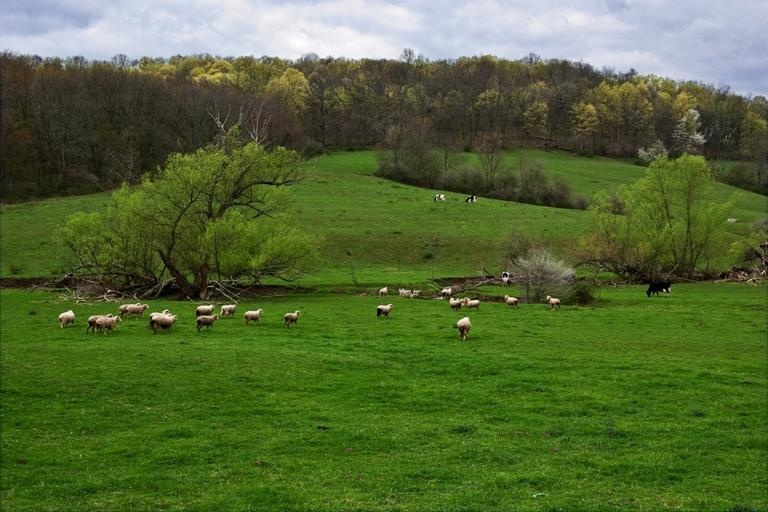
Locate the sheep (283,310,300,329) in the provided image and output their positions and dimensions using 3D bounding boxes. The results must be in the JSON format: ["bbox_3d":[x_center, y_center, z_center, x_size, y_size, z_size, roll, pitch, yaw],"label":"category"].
[{"bbox_3d":[-10.485,7.150,110.858,2.396,1.603,1.606,-2,4,-30],"label":"sheep"}]

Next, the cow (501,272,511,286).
[{"bbox_3d":[16.184,3.023,128.512,1.261,1.950,4.304,0,3,6],"label":"cow"}]
